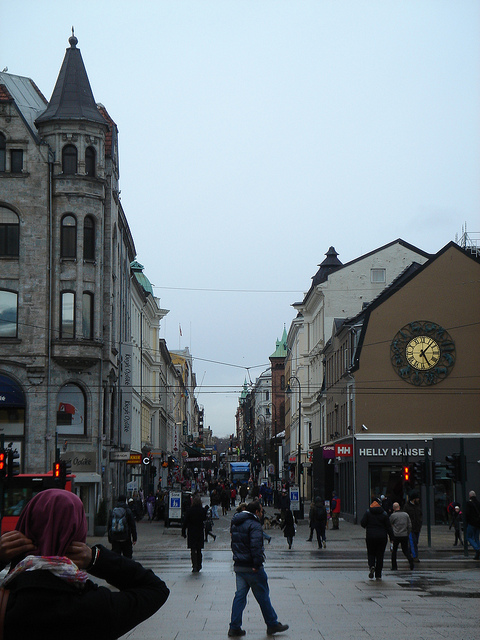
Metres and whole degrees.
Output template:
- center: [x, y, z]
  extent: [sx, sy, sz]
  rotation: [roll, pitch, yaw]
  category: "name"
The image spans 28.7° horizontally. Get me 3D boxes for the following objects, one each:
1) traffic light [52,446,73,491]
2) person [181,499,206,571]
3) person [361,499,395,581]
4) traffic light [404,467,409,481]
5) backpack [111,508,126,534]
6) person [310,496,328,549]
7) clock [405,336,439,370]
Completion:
- center: [-4.966, 4.050, 26.095]
  extent: [0.434, 1.195, 0.239]
  rotation: [1, 21, -4]
  category: "traffic light"
- center: [-0.960, 4.370, 19.465]
  extent: [0.422, 1.623, 0.390]
  rotation: [-3, 6, -26]
  category: "person"
- center: [2.617, 4.157, 17.986]
  extent: [0.547, 1.559, 1.832]
  rotation: [-2, -13, 9]
  category: "person"
- center: [5.094, 4.682, 28.722]
  extent: [0.175, 0.395, 0.141]
  rotation: [2, -11, -12]
  category: "traffic light"
- center: [-2.312, 3.835, 17.970]
  extent: [0.308, 0.621, 0.311]
  rotation: [1, -25, -2]
  category: "backpack"
- center: [2.283, 5.892, 27.387]
  extent: [0.505, 1.480, 1.758]
  rotation: [-1, -13, 4]
  category: "person"
- center: [8.142, 1.458, 42.007]
  extent: [1.017, 1.466, 0.076]
  rotation: [0, -2, 5]
  category: "clock"
